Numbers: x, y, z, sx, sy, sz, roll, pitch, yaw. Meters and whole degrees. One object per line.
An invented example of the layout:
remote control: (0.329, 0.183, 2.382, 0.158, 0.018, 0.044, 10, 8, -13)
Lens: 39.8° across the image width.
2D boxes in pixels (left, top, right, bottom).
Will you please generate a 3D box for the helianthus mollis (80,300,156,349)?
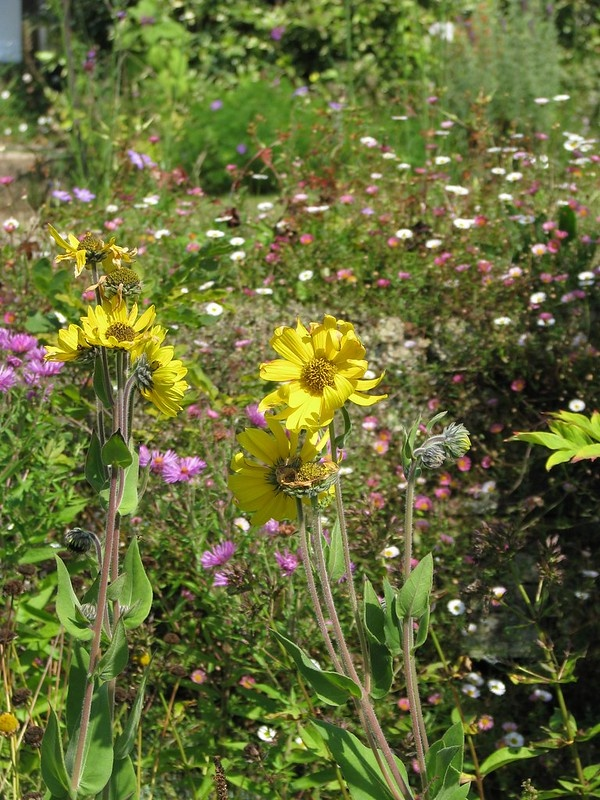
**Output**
helianthus mollis: (-0.300, -0.124, 1.352, 0.113, 0.083, 0.144, -11, 17, -25)

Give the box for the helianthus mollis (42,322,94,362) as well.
helianthus mollis: (-0.384, -0.086, 1.390, 0.079, 0.071, 0.037, 14, -4, 12)

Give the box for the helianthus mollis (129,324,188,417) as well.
helianthus mollis: (-0.239, -0.042, 1.411, 0.086, 0.171, 0.195, -7, 16, -9)

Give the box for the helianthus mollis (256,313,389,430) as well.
helianthus mollis: (0.021, -0.071, 1.327, 0.183, 0.169, 0.077, -17, 56, 25)
